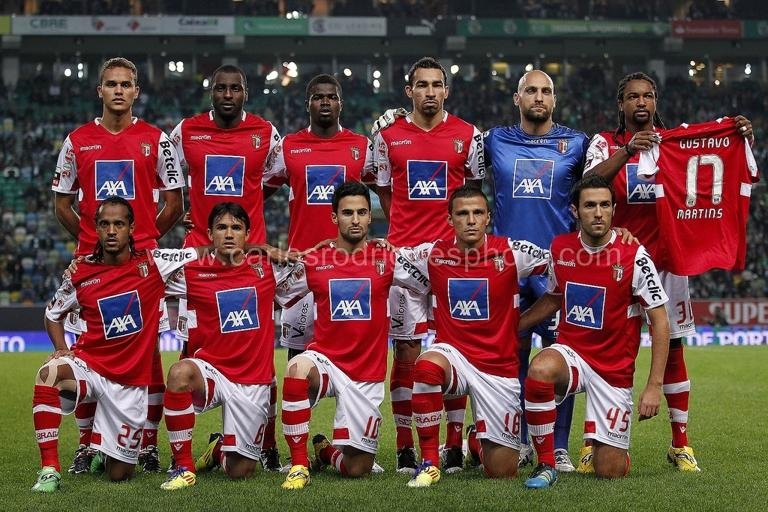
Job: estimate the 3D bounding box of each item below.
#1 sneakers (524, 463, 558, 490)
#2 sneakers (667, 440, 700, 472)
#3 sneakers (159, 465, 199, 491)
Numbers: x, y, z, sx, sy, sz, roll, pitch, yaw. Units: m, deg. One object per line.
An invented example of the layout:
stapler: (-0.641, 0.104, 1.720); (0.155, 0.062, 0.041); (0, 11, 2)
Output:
sneakers: (2.274, 3.154, 16.612); (0.464, 0.309, 0.278); (0, -2, 1)
sneakers: (4.476, 2.999, 17.249); (0.214, 0.259, 0.528); (7, 2, -33)
sneakers: (-2.956, 3.230, 16.654); (0.476, 0.244, 0.241); (6, -7, -27)
